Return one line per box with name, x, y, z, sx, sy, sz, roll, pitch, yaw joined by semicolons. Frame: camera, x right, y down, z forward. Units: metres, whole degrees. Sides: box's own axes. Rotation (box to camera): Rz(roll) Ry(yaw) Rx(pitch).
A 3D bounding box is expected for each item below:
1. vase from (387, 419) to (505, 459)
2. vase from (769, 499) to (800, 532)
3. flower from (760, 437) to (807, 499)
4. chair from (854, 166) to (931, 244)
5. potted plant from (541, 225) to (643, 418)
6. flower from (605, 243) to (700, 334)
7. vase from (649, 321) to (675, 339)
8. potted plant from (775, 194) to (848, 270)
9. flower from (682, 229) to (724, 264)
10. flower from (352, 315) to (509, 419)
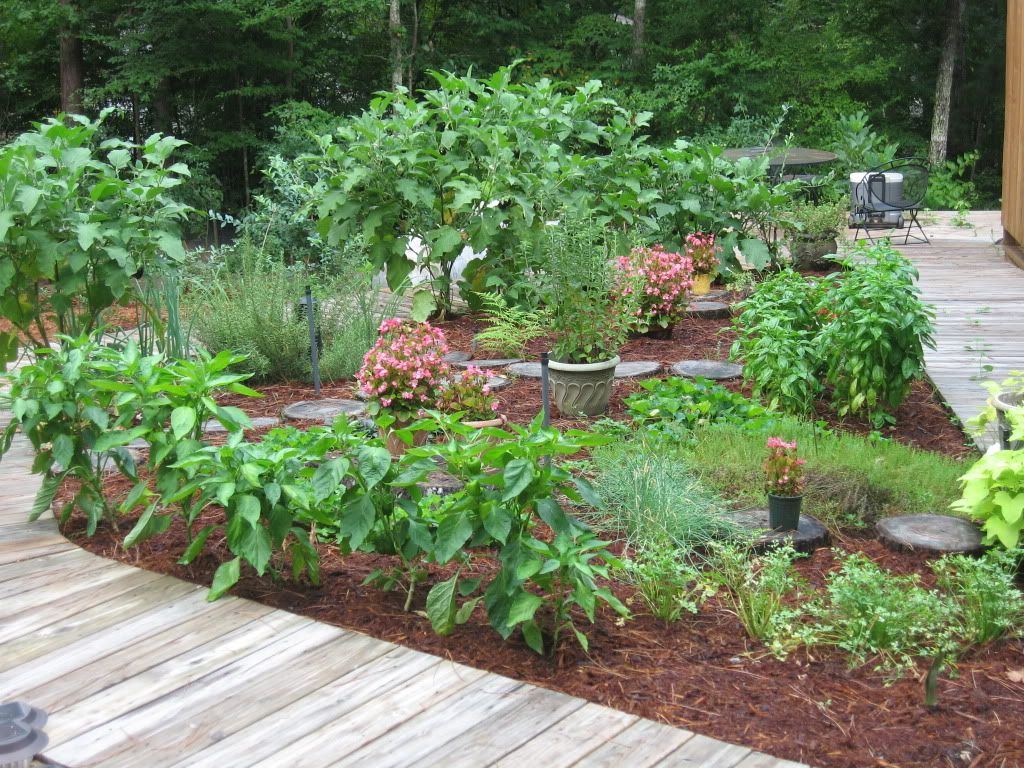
vase;-0.399;0.289;5.400;0.628;0.231;0.545;1;11;13
vase;1.252;0.601;4.393;0.158;0.121;0.155;-1;2;2
flower;1.256;0.394;4.399;0.160;0.292;0.182;-3;11;-5
chair;4.944;-2.342;12.443;0.816;0.801;1.073;1;5;6
potted plant;0.514;-0.453;6.295;0.592;1.249;0.835;0;11;7
flower;1.254;-0.727;7.450;0.914;0.864;0.714;0;7;-1
vase;1.236;-0.424;7.850;0.139;0.077;0.131;-3;-20;4
potted plant;3.276;-1.606;10.370;0.777;0.713;0.764;-3;9;-1
flower;1.840;-1.300;9.275;0.343;0.337;0.335;-2;-2;-1
flower;-0.449;-0.046;5.500;0.737;0.544;0.707;2;11;16
